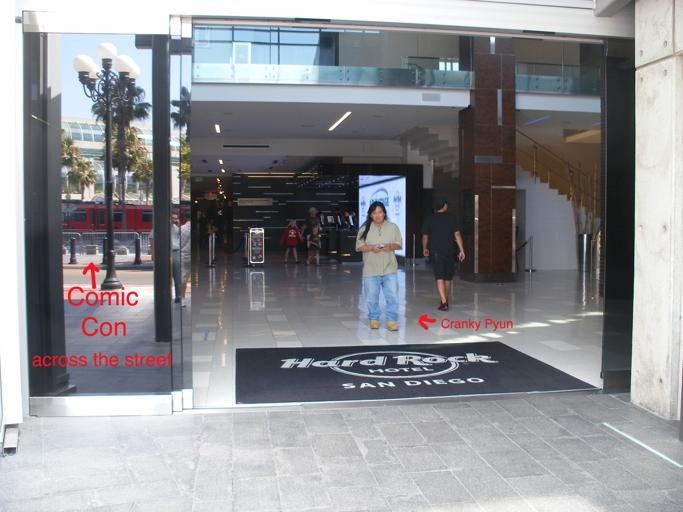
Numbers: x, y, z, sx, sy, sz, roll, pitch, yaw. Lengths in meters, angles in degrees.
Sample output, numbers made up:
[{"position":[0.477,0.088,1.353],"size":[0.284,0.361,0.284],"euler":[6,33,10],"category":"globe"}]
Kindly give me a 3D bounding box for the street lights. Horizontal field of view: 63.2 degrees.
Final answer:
[{"position":[-1.784,-0.683,4.324],"size":[0.471,1.906,0.107],"euler":[-2,3,7],"category":"street lights"}]

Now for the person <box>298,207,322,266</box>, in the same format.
[{"position":[-0.887,-0.595,17.563],"size":[0.659,2.028,0.576],"euler":[-3,6,-7],"category":"person"}]

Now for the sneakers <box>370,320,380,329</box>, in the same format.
[{"position":[0.432,0.893,7.235],"size":[0.075,0.097,0.217],"euler":[0,-9,0],"category":"sneakers"}]

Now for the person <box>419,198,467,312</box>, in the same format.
[{"position":[1.615,-0.042,8.721],"size":[0.625,1.736,1.396],"euler":[-1,3,11],"category":"person"}]

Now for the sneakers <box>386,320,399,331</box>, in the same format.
[{"position":[0.653,0.904,7.164],"size":[0.082,0.091,0.235],"euler":[0,-8,-5],"category":"sneakers"}]

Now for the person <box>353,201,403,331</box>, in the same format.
[{"position":[0.493,0.125,7.136],"size":[0.549,1.651,0.353],"euler":[-2,3,2],"category":"person"}]

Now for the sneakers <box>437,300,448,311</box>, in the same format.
[{"position":[1.588,0.778,8.679],"size":[0.116,0.096,0.235],"euler":[-1,-10,-1],"category":"sneakers"}]

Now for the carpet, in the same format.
[{"position":[0.492,1.093,5.337],"size":[3.115,0.143,1.713],"euler":[-2,4,-2],"category":"carpet"}]

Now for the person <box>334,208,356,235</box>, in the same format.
[{"position":[0.149,-1.232,19.179],"size":[0.834,1.314,1.048],"euler":[0,-9,2],"category":"person"}]
